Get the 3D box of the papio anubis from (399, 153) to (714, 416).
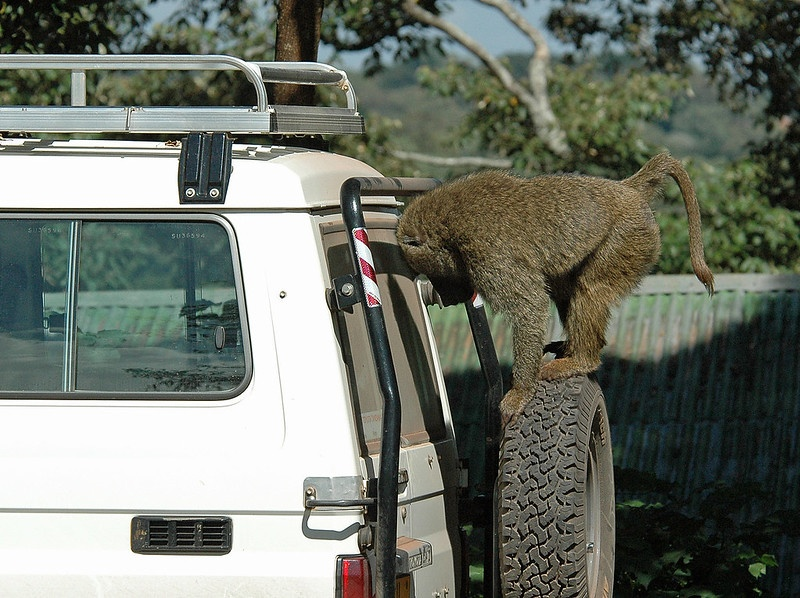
[{"bbox_3d":[0.955,-0.159,8.467,1.848,1.320,0.787,-7,15,-1],"label":"papio anubis"}]
